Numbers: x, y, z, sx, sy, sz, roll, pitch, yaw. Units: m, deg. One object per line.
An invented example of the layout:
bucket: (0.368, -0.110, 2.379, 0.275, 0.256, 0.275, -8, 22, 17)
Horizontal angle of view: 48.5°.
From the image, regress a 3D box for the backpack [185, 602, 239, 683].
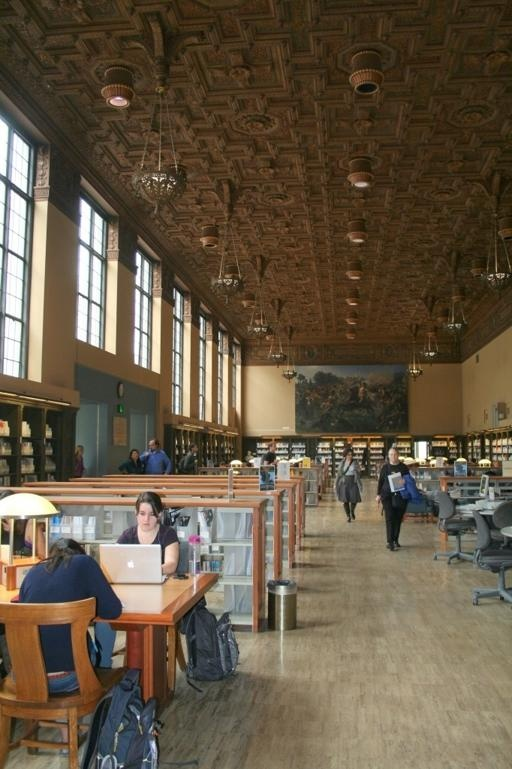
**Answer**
backpack: (-0.341, 1.844, 4.077, 0.377, 0.561, 0.416, -6, -25, 14)

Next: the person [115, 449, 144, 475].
person: (-3.080, 1.877, 13.737, 0.553, 0.857, 0.271, 3, -21, -5)

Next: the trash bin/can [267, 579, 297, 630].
trash bin/can: (0.245, 2.071, 5.351, 0.439, 0.378, 0.462, -1, -11, 5)

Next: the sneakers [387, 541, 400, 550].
sneakers: (2.410, 2.832, 9.965, 0.102, 0.142, 0.322, 0, -18, 3)

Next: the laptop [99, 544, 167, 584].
laptop: (-0.706, 1.017, 3.225, 0.326, 0.240, 0.238, 1, 4, 8)
